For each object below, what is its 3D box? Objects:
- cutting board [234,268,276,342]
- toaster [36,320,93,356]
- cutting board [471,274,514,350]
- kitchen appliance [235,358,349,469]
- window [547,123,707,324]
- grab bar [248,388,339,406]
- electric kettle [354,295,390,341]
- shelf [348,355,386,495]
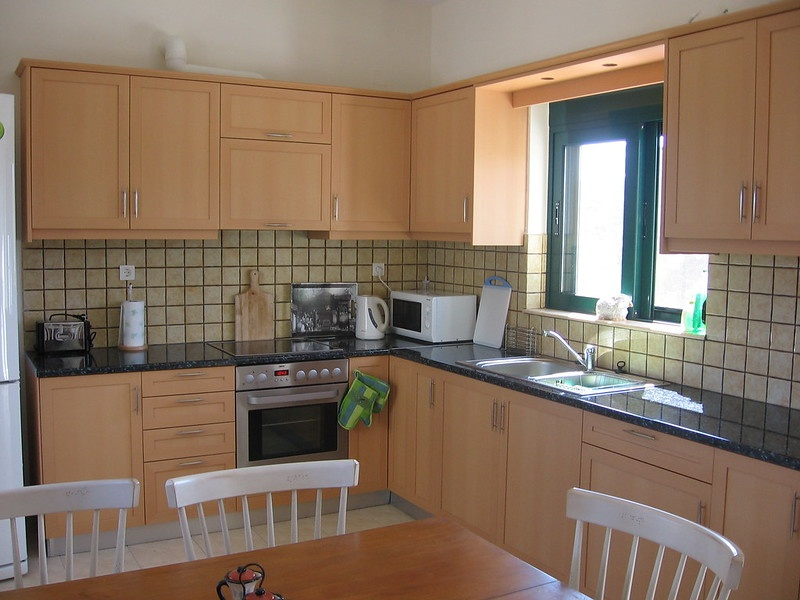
[{"bbox_3d":[-0.997,0.032,4.407,0.267,0.501,0.031,-4,17,-24],"label":"cutting board"},{"bbox_3d":[-1.990,0.223,3.788,0.326,0.239,0.183,-1,10,-23],"label":"toaster"},{"bbox_3d":[0.631,0.088,4.283,0.031,0.473,0.264,10,0,-37],"label":"cutting board"},{"bbox_3d":[-0.706,0.655,4.221,0.652,0.935,0.607,-1,3,-26],"label":"kitchen appliance"},{"bbox_3d":[1.285,-0.421,3.542,0.155,1.183,1.139,-3,6,-30],"label":"window"},{"bbox_3d":[-0.642,0.594,3.912,0.555,0.096,0.020,-6,11,-22],"label":"grab bar"},{"bbox_3d":[-0.199,0.117,4.541,0.246,0.303,0.199,-1,10,1],"label":"electric kettle"},{"bbox_3d":[-0.202,0.823,4.165,0.268,0.950,0.080,1,16,-2],"label":"shelf"}]
